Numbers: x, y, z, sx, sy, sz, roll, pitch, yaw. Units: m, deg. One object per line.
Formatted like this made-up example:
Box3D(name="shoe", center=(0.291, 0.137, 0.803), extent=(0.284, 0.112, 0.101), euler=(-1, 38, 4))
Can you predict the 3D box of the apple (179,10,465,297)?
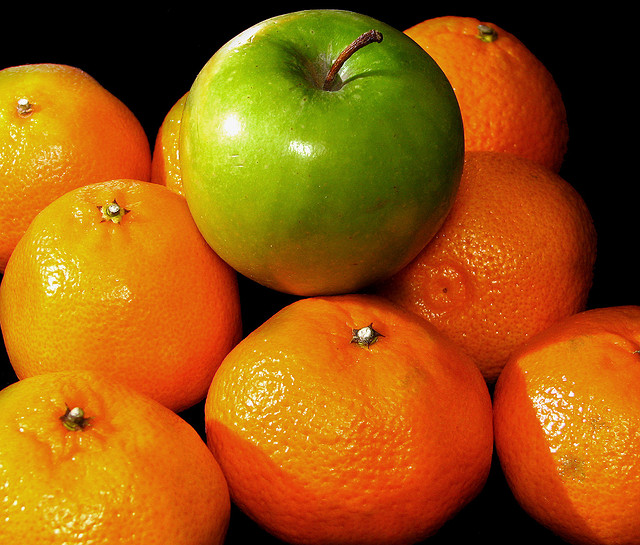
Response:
Box3D(name="apple", center=(0.004, -0.127, 0.825), extent=(0.268, 0.290, 0.286), euler=(20, 50, 12))
